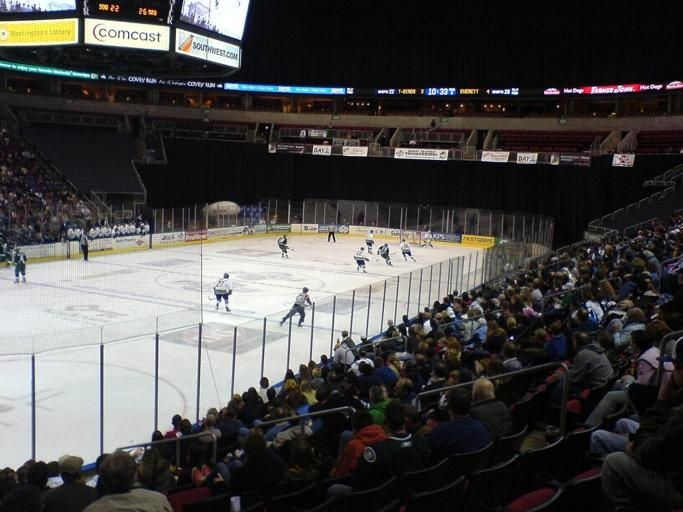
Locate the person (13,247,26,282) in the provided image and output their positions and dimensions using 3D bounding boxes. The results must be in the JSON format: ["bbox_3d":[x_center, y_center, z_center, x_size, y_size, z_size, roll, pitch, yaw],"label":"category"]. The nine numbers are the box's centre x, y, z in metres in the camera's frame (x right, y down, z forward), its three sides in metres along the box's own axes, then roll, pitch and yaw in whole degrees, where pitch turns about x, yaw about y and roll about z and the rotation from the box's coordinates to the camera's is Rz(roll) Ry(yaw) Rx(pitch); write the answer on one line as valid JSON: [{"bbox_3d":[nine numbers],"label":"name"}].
[{"bbox_3d":[-11.151,0.294,21.402,0.370,1.231,1.440,-1,-8,-28],"label":"person"}]
